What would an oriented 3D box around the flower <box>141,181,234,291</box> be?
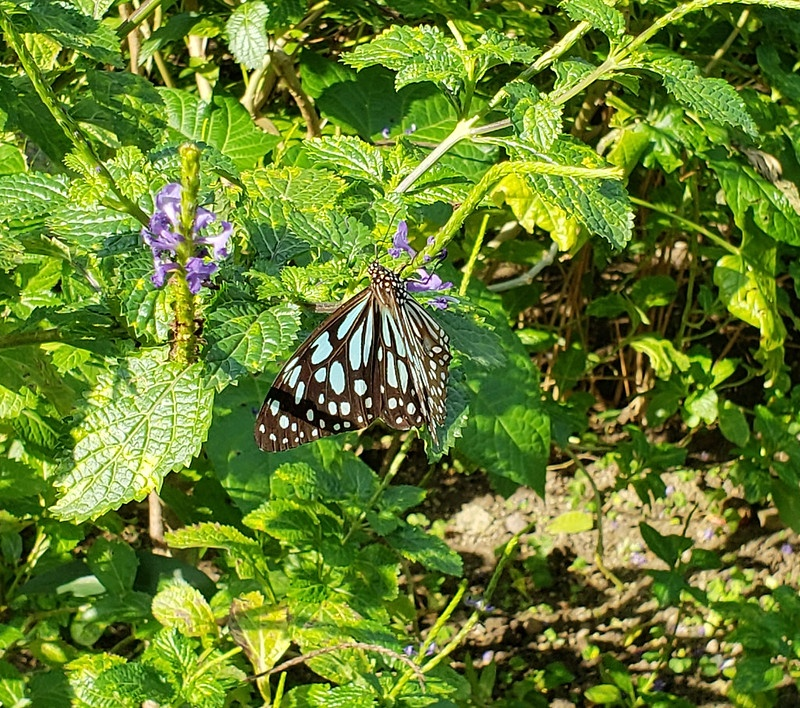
[{"bbox_3d":[-0.299,-0.169,1.234,0.075,0.078,0.123,-9,86,27],"label":"flower"}]
